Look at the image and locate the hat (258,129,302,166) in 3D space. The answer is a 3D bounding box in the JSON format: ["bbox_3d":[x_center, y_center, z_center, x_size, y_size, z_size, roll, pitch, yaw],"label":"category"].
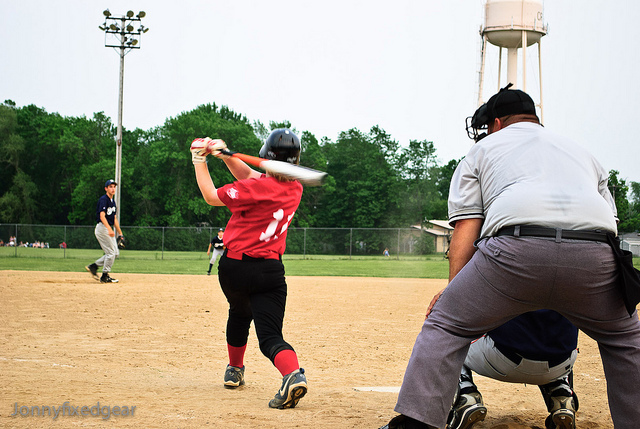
[{"bbox_3d":[-0.416,-0.703,7.388,0.333,0.394,0.433,12,17,-13],"label":"hat"}]

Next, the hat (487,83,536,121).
[{"bbox_3d":[1.711,-0.999,6.220,0.391,0.322,0.228,0,-1,39],"label":"hat"}]

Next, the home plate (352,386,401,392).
[{"bbox_3d":[0.633,1.942,7.729,0.551,0.028,0.195,1,-1,-8],"label":"home plate"}]

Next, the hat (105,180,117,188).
[{"bbox_3d":[-4.647,-0.694,15.262,0.239,0.137,0.360,0,-3,-37],"label":"hat"}]

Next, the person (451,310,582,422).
[{"bbox_3d":[1.824,1.399,6.429,0.921,1.303,0.768,10,-10,0],"label":"person"}]
